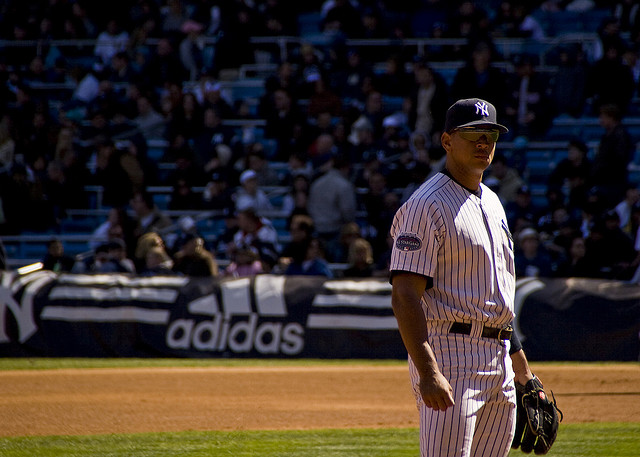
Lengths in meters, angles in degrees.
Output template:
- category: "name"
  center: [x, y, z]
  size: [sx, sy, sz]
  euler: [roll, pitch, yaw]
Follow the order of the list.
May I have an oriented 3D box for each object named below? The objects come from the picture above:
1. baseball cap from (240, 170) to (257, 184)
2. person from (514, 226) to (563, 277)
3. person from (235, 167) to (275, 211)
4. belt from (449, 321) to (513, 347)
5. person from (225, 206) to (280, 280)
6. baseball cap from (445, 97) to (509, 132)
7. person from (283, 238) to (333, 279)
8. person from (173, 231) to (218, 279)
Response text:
- category: "baseball cap"
  center: [-1.086, -0.792, 21.918]
  size: [0.219, 0.099, 0.186]
  euler: [-21, -15, 29]
- category: "person"
  center: [3.036, 0.341, 20.717]
  size: [0.797, 0.478, 0.335]
  euler: [-1, -8, -6]
- category: "person"
  center: [-1.018, -0.599, 21.951]
  size: [0.508, 0.661, 0.987]
  euler: [0, 0, 21]
- category: "belt"
  center: [1.677, 1.116, 15.446]
  size: [0.440, 0.137, 0.304]
  euler: [8, -4, -7]
- category: "person"
  center: [-0.988, 0.226, 20.907]
  size: [0.852, 1.126, 0.606]
  euler: [-10, -22, 21]
- category: "baseball cap"
  center: [1.627, -1.217, 15.585]
  size: [0.499, 0.227, 0.376]
  euler: [-6, -4, 33]
- category: "person"
  center: [-0.165, 0.375, 20.022]
  size: [0.572, 0.506, 0.976]
  euler: [0, 0, -15]
- category: "person"
  center: [-1.688, 0.392, 19.795]
  size: [0.695, 0.383, 0.999]
  euler: [10, -11, -3]
